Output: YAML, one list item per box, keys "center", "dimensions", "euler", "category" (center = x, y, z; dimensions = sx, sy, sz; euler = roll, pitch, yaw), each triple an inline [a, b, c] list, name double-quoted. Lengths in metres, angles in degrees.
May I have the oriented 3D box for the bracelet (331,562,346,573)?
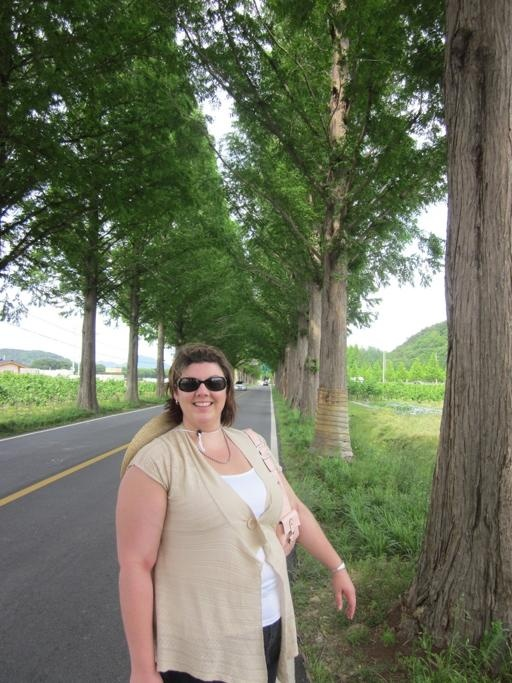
- center: [0.347, 0.961, 2.186]
  dimensions: [0.057, 0.033, 0.045]
  euler: [-25, -6, -42]
  category: "bracelet"
